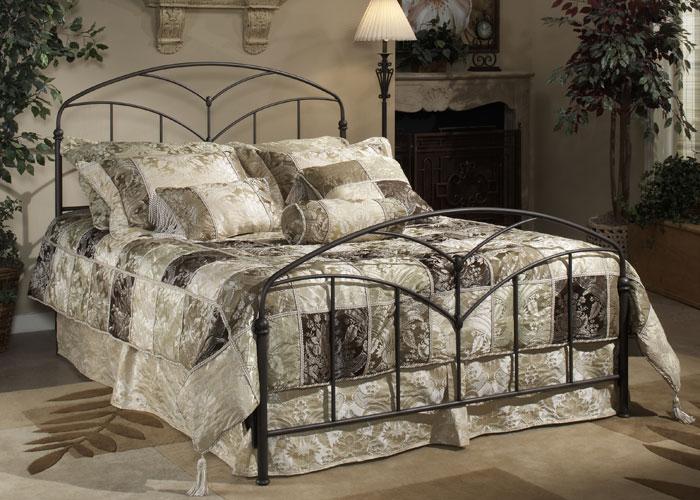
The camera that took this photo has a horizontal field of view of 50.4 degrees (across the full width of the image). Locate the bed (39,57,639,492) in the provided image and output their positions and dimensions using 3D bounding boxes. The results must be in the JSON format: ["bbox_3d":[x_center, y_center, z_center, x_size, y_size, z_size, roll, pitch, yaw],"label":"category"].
[{"bbox_3d":[-0.293,0.125,3.433,1.739,1.181,1.826,-6,11,-28],"label":"bed"}]

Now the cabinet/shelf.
[{"bbox_3d":[0.782,-0.567,5.492,0.919,0.886,0.358,-2,5,-10],"label":"cabinet/shelf"}]
